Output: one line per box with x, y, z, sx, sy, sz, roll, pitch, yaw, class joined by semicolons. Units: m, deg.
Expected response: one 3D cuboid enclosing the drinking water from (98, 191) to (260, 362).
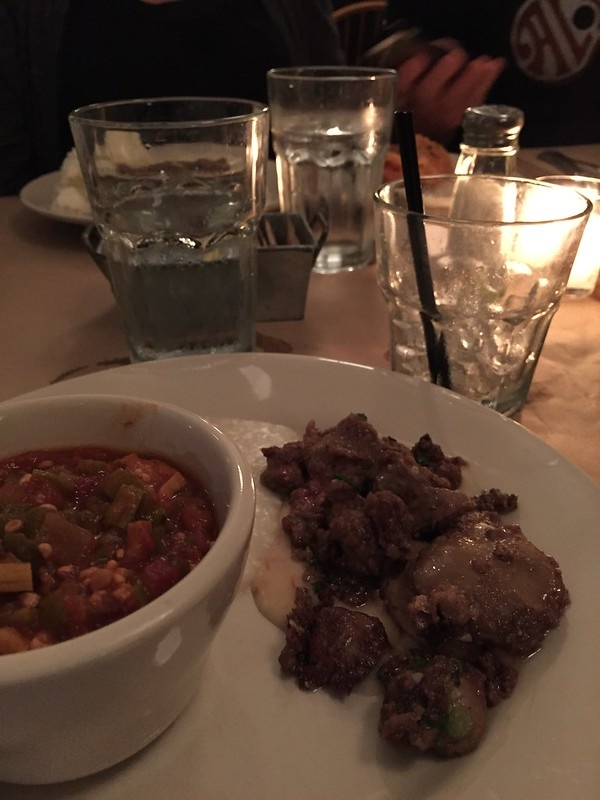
-0.170;-0.248;1.319;0.298;0.290;0.274;-6;26;-8;drinking water

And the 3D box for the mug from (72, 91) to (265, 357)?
-0.195;-0.303;1.299;0.352;0.452;0.290;-5;33;-8;mug
